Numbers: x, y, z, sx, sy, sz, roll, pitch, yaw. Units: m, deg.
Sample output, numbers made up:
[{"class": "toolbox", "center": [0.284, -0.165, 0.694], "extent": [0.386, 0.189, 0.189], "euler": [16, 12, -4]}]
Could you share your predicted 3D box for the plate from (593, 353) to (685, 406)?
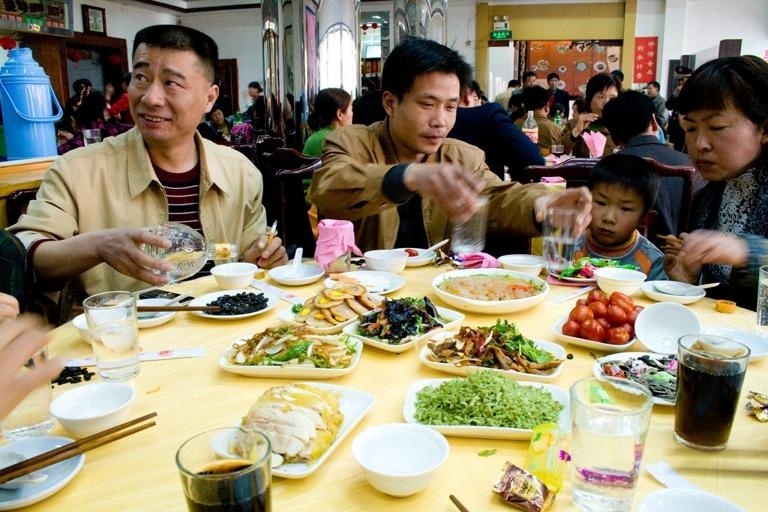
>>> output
[{"class": "plate", "center": [0.812, 0.382, 1.733], "extent": [0.202, 0.034, 0.200], "euler": [6, 20, 19]}]

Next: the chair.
[{"class": "chair", "center": [-0.378, -0.315, 2.794], "extent": [2.509, 0.921, 1.626], "euler": [7, 4, 28]}]

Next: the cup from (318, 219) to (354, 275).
[{"class": "cup", "center": [-0.220, -0.036, 2.533], "extent": [0.235, 0.222, 0.234], "euler": [0, 6, 0]}]

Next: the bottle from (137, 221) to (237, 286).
[{"class": "bottle", "center": [-0.893, -0.003, 2.403], "extent": [0.346, 0.172, 0.130], "euler": [-1, 15, -44]}]

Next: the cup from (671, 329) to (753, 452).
[{"class": "cup", "center": [0.923, 0.383, 1.522], "extent": [0.176, 0.288, 0.188], "euler": [-2, 16, 0]}]

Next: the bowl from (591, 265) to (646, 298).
[{"class": "bowl", "center": [1.030, 0.087, 2.370], "extent": [0.159, 0.071, 0.154], "euler": [1, 18, 0]}]

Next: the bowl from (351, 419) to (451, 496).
[{"class": "bowl", "center": [0.041, 0.549, 1.427], "extent": [0.242, 0.120, 0.202], "euler": [5, 16, 24]}]
